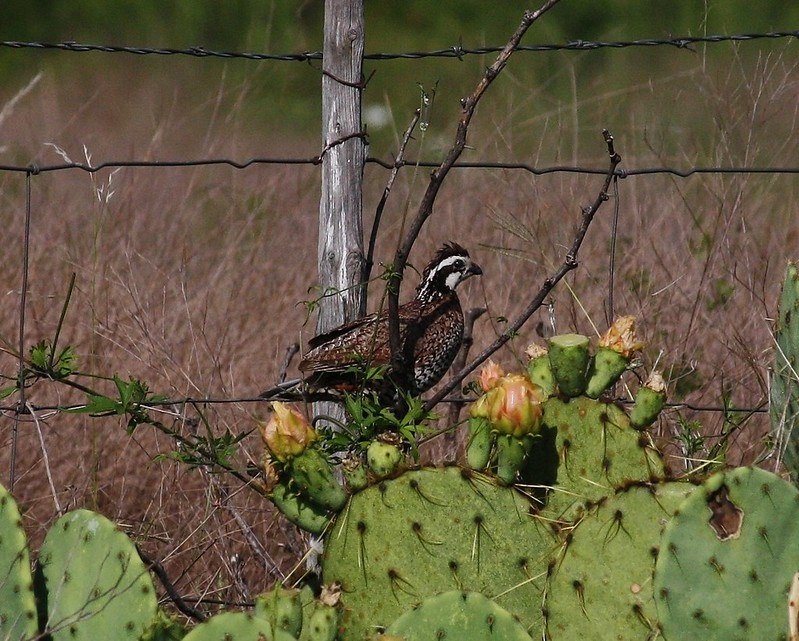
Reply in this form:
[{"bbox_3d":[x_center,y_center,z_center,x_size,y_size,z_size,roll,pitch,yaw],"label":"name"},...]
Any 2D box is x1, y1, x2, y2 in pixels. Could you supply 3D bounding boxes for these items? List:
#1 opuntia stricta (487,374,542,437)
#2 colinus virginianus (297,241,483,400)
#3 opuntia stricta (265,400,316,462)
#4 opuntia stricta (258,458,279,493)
[{"bbox_3d":[0.417,0.309,5.057,0.203,0.182,0.155,-1,25,3],"label":"opuntia stricta"},{"bbox_3d":[-0.085,0.103,6.629,0.910,0.955,0.566,2,-13,-4],"label":"colinus virginianus"},{"bbox_3d":[-0.406,0.415,5.001,0.192,0.210,0.092,9,26,21],"label":"opuntia stricta"},{"bbox_3d":[-0.489,0.576,5.126,0.037,0.154,0.103,-14,27,-27],"label":"opuntia stricta"}]
